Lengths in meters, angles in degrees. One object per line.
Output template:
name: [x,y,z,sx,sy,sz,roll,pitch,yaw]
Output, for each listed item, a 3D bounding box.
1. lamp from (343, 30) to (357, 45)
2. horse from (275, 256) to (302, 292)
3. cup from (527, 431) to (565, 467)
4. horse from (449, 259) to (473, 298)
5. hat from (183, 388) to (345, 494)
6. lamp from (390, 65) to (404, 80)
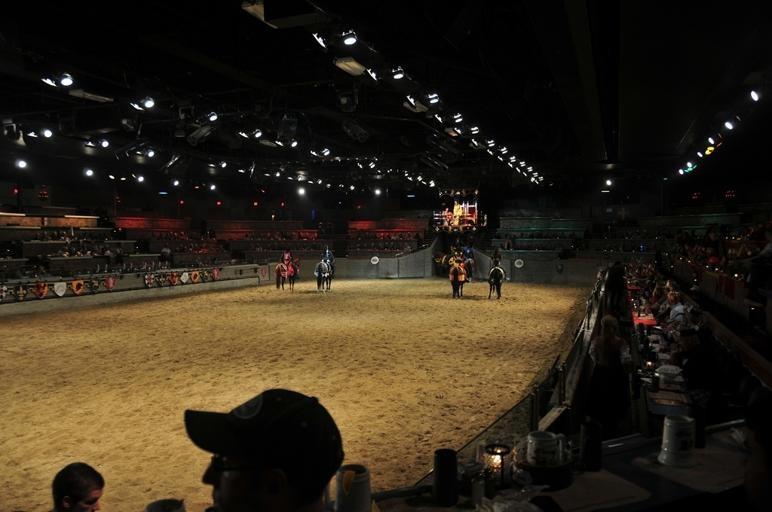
lamp: [-0.741,-4.417,10.242,0.222,0.076,0.213,7,-16,-15]
horse: [-4.568,0.803,23.245,0.932,1.674,2.294,-4,8,-14]
cup: [1.517,1.838,4.789,0.452,0.291,0.262,11,-18,-22]
horse: [2.922,0.888,20.480,0.609,1.623,1.518,0,8,8]
hat: [-0.839,1.230,3.701,1.111,0.560,0.702,26,-17,-9]
lamp: [0.284,-4.395,12.203,0.329,0.228,0.403,-1,8,0]
